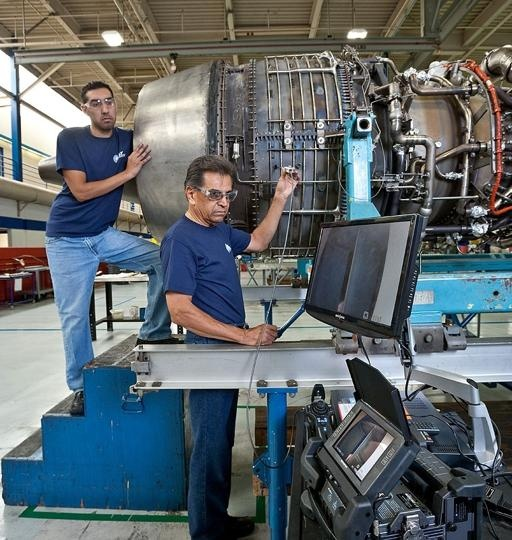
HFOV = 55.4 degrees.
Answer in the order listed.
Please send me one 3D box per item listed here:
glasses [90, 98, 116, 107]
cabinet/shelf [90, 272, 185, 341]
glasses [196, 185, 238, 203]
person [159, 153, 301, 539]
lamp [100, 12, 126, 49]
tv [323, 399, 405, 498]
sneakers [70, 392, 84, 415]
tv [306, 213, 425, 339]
[{"bbox_3d":[-0.698,-0.772,2.247,0.107,0.048,0.031,-8,12,-34],"label":"glasses"},{"bbox_3d":[-1.131,0.346,4.409,0.906,0.580,0.470,0,4,-2],"label":"cabinet/shelf"},{"bbox_3d":[-0.139,-0.282,1.816,0.143,0.057,0.058,-3,10,-10],"label":"glasses"},{"bbox_3d":[-0.082,0.362,1.979,0.490,1.612,0.530,0,10,10],"label":"person"},{"bbox_3d":[-1.714,-2.849,5.976,0.225,0.219,0.315,-3,10,-7],"label":"lamp"},{"bbox_3d":[0.279,0.459,1.242,0.097,0.180,0.282,20,0,-12],"label":"tv"},{"bbox_3d":[-0.845,0.641,2.342,0.061,0.074,0.128,-4,10,-16],"label":"sneakers"},{"bbox_3d":[0.339,0.018,1.480,0.087,0.341,0.511,18,1,-26],"label":"tv"}]
